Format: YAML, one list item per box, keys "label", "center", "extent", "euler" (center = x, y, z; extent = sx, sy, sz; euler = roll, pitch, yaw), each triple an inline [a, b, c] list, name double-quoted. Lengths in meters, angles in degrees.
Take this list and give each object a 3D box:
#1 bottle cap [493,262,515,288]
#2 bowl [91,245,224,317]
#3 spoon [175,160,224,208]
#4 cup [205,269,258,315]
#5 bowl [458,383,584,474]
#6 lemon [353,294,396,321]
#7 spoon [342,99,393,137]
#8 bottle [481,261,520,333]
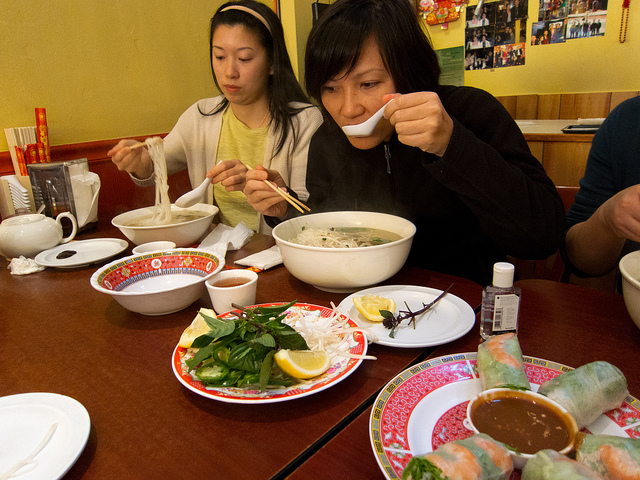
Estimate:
- label: "bottle cap"
  center: [0.559, 0.107, 1.327]
  extent: [0.059, 0.075, 0.056]
  euler: [-1, 23, 7]
- label: "bowl"
  center: [-0.629, 0.131, 1.631]
  extent: [0.319, 0.124, 0.334]
  euler: [-1, 22, 0]
- label: "spoon"
  center: [-0.633, -0.270, 2.264]
  extent: [0.059, 0.335, 0.086]
  euler: [44, 13, 26]
- label: "cup"
  center: [-0.305, 0.166, 1.534]
  extent: [0.151, 0.097, 0.150]
  euler: [-3, 19, 1]
- label: "bowl"
  center: [0.456, 0.429, 0.979]
  extent: [0.235, 0.109, 0.245]
  euler: [-4, 23, 2]
- label: "lemon"
  center: [0.183, 0.227, 1.491]
  extent: [0.142, 0.051, 0.103]
  euler: [9, 26, 28]
- label: "spoon"
  center: [0.210, -0.500, 1.890]
  extent: [0.080, 0.205, 0.037]
  euler: [1, 52, -52]
- label: "bottle"
  center: [0.560, 0.184, 1.341]
  extent: [0.112, 0.228, 0.084]
  euler: [1, 23, 12]
